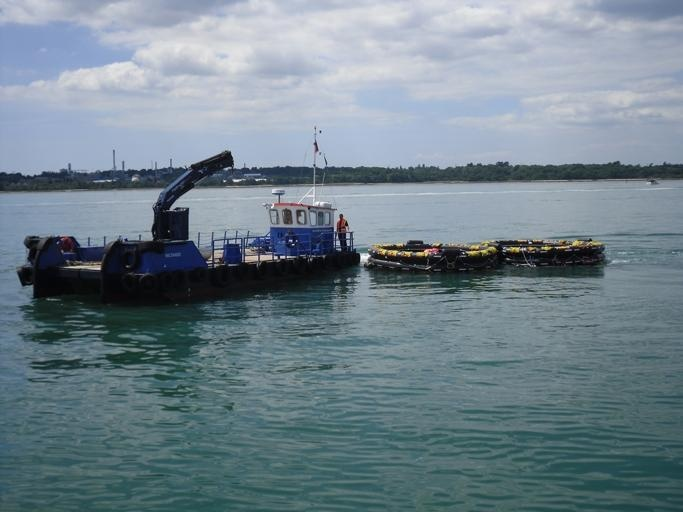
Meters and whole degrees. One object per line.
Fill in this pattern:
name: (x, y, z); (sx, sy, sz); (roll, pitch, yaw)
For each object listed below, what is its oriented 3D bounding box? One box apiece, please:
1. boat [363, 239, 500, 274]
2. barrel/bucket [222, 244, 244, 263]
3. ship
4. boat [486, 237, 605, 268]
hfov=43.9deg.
boat: (5.627, -0.169, 45.507); (6.367, 1.368, 10.231); (-1, 4, 20)
barrel/bucket: (-4.523, -0.070, 35.621); (1.081, 0.683, 0.879); (0, -2, -10)
ship: (-7.490, 0.367, 38.906); (18.101, 7.066, 10.134); (0, 9, 13)
boat: (10.596, -0.072, 42.996); (5.092, 1.222, 2.148); (-1, 4, 13)
